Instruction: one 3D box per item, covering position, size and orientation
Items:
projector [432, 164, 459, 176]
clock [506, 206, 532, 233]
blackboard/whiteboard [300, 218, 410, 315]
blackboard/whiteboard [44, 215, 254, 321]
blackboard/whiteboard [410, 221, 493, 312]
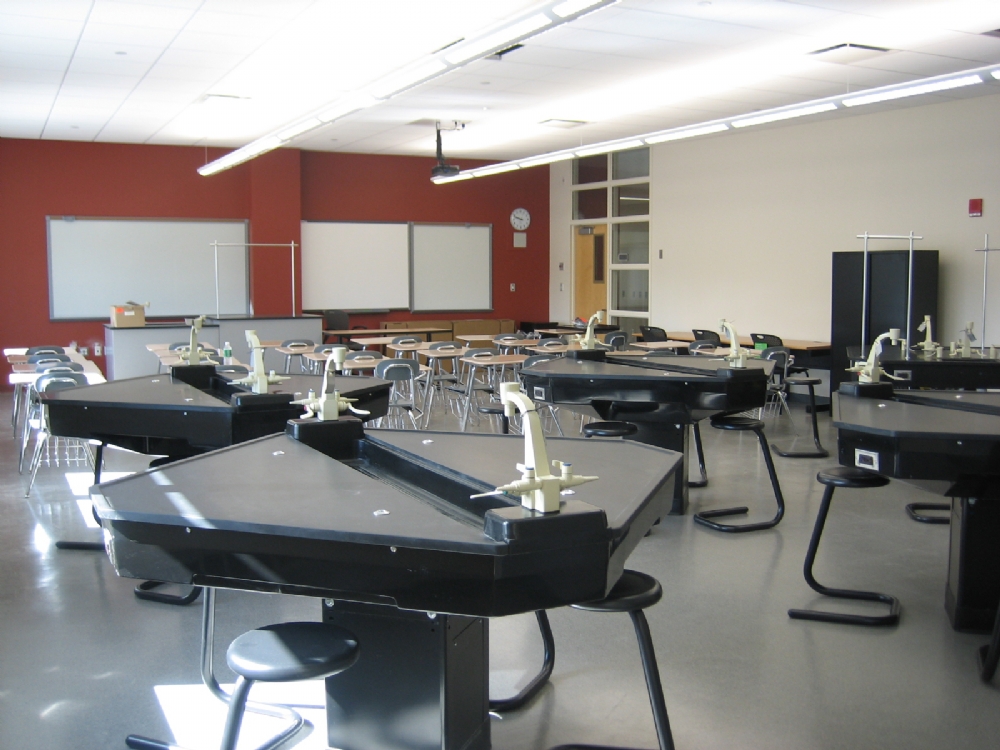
[{"bbox_3d":[-0.723,-2.864,10.879,0.324,0.156,0.439,10,13,42],"label":"projector"},{"bbox_3d":[0.381,-2.915,14.570,0.472,0.436,0.082,-6,12,-34],"label":"clock"},{"bbox_3d":[-2.568,-1.879,13.298,1.863,1.398,0.183,-1,3,-24],"label":"blackboard/whiteboard"},{"bbox_3d":[-5.491,-1.646,11.855,2.334,1.190,0.084,-1,3,-25],"label":"blackboard/whiteboard"},{"bbox_3d":[-0.930,-1.937,14.064,1.655,1.604,0.078,3,12,21],"label":"blackboard/whiteboard"}]
